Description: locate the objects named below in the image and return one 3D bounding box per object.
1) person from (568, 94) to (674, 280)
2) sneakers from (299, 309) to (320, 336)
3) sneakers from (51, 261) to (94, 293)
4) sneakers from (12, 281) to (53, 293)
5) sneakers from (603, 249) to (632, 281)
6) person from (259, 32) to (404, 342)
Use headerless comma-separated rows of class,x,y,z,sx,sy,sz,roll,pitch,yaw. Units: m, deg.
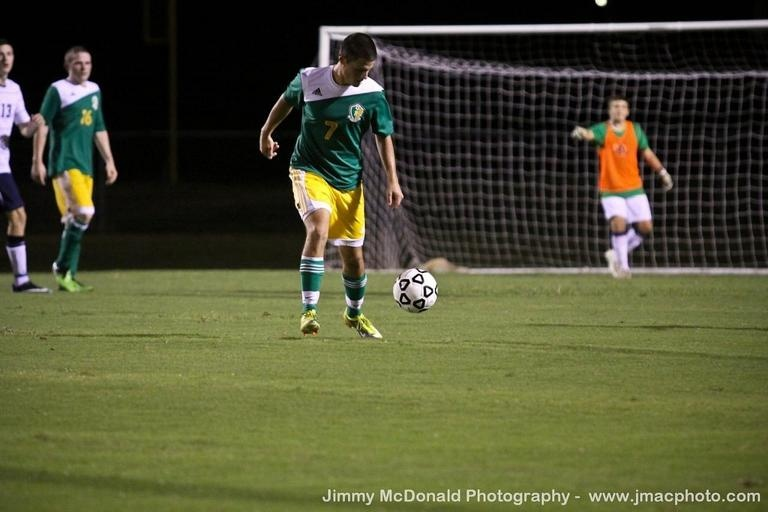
person,2.759,-0.751,10.275,0.957,2.189,1.273,6,12,24
sneakers,-0.603,0.571,7.342,0.111,0.133,0.277,1,-17,-10
sneakers,-3.410,0.246,9.789,0.422,0.280,0.139,15,24,-24
sneakers,-3.612,0.337,9.321,0.453,0.151,0.146,0,-1,-5
sneakers,2.765,0.121,10.626,0.194,0.535,0.240,-25,22,-8
person,-0.397,-0.562,7.354,1.085,2.497,0.657,0,11,-5
